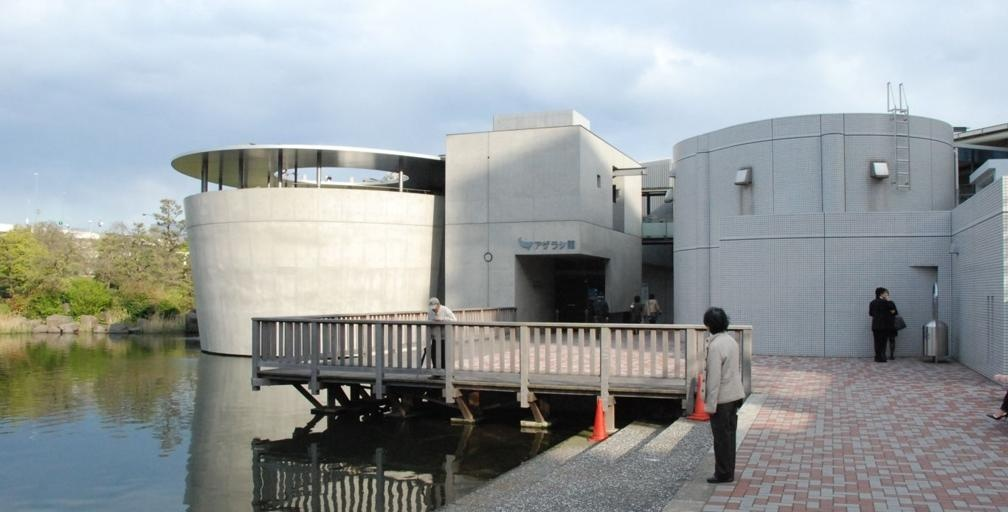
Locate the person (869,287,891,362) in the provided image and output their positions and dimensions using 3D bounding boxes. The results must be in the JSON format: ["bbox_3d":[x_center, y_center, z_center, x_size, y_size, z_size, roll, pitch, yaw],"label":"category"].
[{"bbox_3d":[15.402,2.805,31.660,0.872,3.022,1.258,-3,-4,24],"label":"person"}]

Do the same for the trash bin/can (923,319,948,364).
[{"bbox_3d":[17.316,3.416,31.203,1.181,1.673,0.717,2,-5,-43],"label":"trash bin/can"}]

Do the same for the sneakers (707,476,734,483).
[{"bbox_3d":[6.162,6.357,22.054,0.682,0.241,0.236,2,-4,6],"label":"sneakers"}]

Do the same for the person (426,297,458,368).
[{"bbox_3d":[-2.282,2.795,27.853,0.919,2.477,0.642,-2,-3,9],"label":"person"}]
